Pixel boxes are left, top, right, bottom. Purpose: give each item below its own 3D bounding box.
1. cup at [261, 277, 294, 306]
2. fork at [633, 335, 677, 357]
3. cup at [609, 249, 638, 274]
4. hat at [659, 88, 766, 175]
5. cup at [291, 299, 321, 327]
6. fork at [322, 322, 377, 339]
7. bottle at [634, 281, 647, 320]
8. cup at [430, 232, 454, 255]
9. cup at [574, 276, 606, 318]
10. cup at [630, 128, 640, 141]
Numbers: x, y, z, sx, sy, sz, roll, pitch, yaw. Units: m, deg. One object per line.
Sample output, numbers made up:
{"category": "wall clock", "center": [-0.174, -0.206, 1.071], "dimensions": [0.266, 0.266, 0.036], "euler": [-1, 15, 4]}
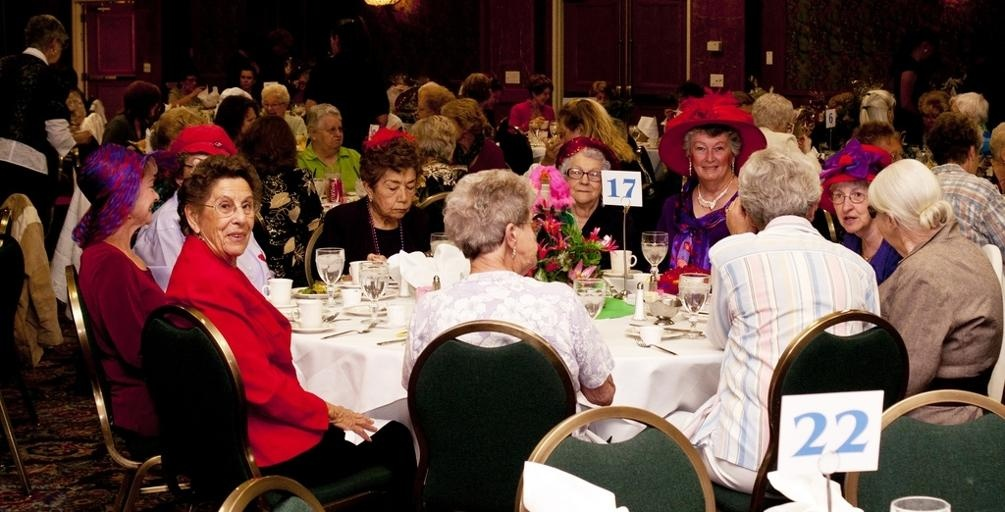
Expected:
{"category": "cup", "center": [-1.314, 0.208, 4.336], "dimensions": [0.186, 0.133, 0.147], "euler": [-4, 8, -13]}
{"category": "fork", "center": [0.779, 0.463, 3.775], "dimensions": [0.188, 0.030, 0.031], "euler": [21, 38, 26]}
{"category": "cup", "center": [0.782, 0.033, 4.732], "dimensions": [0.178, 0.127, 0.143], "euler": [9, 11, 42]}
{"category": "hat", "center": [1.556, -1.001, 5.467], "dimensions": [0.839, 0.326, 0.809], "euler": [0, -4, 25]}
{"category": "cup", "center": [-1.054, 0.309, 4.033], "dimensions": [0.132, 0.159, 0.187], "euler": [1, 2, -15]}
{"category": "fork", "center": [-0.825, 0.403, 3.977], "dimensions": [0.250, 0.039, 0.045], "euler": [-7, 23, -33]}
{"category": "bottle", "center": [0.792, 0.255, 4.240], "dimensions": [0.066, 0.203, 0.321], "euler": [2, 2, 10]}
{"category": "cup", "center": [-0.370, -0.078, 4.551], "dimensions": [0.158, 0.135, 0.149], "euler": [0, 5, 0]}
{"category": "cup", "center": [0.482, 0.219, 3.953], "dimensions": [0.212, 0.211, 0.201], "euler": [-2, 3, 0]}
{"category": "cup", "center": [1.693, -1.545, 9.392], "dimensions": [0.137, 0.217, 0.495], "euler": [2, 2, 9]}
